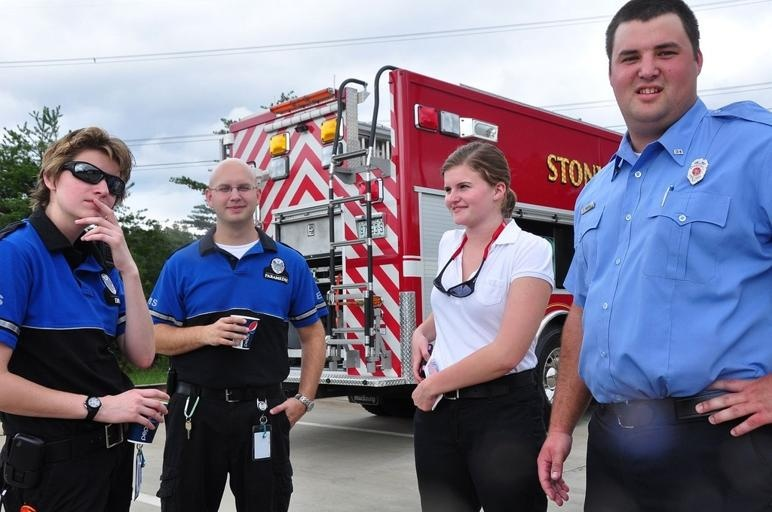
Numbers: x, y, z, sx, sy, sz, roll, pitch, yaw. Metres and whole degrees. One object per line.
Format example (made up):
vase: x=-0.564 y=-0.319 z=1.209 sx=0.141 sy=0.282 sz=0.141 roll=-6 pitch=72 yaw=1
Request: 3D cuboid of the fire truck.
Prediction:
fire truck: x=1.085 y=-0.170 z=8.567 sx=4.932 sy=2.511 sz=2.727 roll=4 pitch=-6 yaw=-41

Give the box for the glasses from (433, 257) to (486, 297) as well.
glasses: x=0.343 y=0.135 z=3.208 sx=0.174 sy=0.200 sz=0.065 roll=9 pitch=-37 yaw=52

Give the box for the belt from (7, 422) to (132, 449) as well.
belt: x=-1.285 y=0.733 z=2.812 sx=0.214 sy=0.055 sz=0.206 roll=0 pitch=-5 yaw=-7

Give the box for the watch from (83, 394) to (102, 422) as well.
watch: x=-1.178 y=0.617 z=2.795 sx=0.064 sy=0.091 sz=0.031 roll=-1 pitch=-3 yaw=-21

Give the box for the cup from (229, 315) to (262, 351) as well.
cup: x=-0.689 y=0.395 z=3.520 sx=0.172 sy=0.174 sz=0.159 roll=3 pitch=-11 yaw=1
